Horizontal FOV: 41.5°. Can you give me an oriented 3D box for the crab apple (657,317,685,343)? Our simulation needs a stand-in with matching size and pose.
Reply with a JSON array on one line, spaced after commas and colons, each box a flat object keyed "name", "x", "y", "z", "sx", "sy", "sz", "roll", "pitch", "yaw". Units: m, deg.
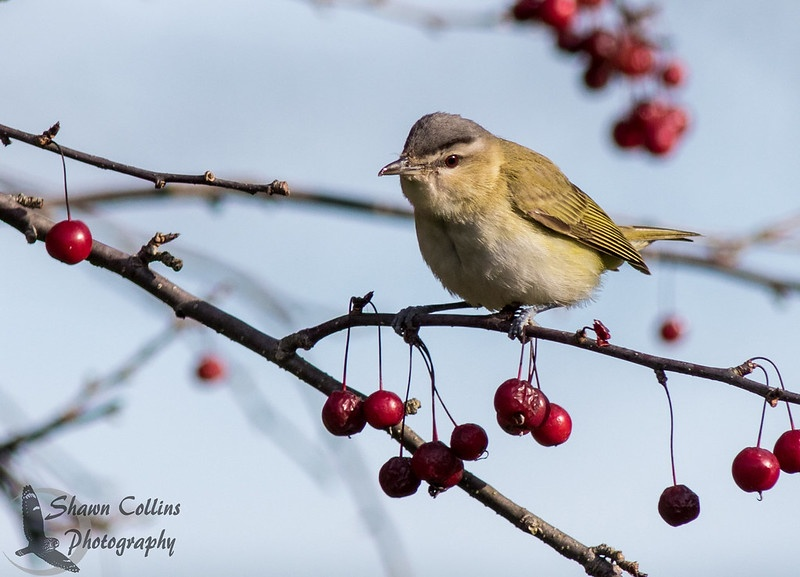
[{"name": "crab apple", "x": 2.543, "y": 0.391, "z": 9.929, "sx": 0.188, "sy": 0.206, "sz": 0.258, "roll": -1, "pitch": -87, "yaw": 7}]
